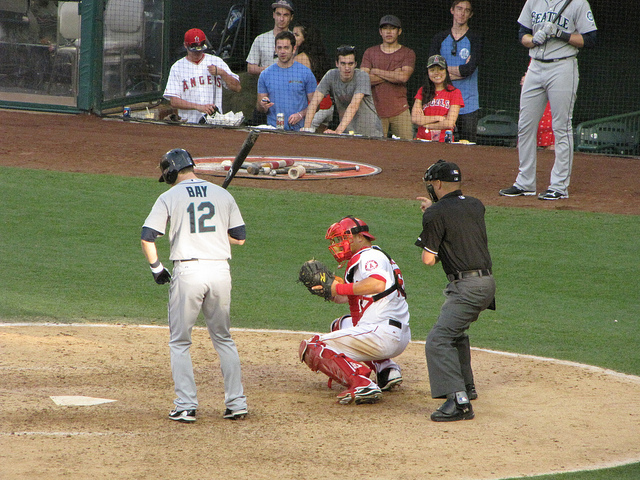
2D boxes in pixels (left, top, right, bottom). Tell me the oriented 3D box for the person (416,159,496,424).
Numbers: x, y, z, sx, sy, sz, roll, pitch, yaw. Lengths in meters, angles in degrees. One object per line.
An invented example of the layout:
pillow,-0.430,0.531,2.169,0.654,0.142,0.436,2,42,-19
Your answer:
person,1.365,0.512,13.889,0.873,2.606,0.844,5,8,5

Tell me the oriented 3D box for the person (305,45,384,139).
person,0.395,-2.339,21.200,1.097,1.393,1.342,5,8,7

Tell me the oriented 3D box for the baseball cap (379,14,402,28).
baseball cap,1.085,-3.452,21.198,0.283,0.191,0.424,4,7,-2

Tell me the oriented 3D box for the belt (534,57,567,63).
belt,3.034,-2.389,17.767,0.405,0.081,0.081,5,8,13

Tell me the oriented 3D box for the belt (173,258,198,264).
belt,-1.368,0.185,13.512,0.256,0.046,0.057,5,7,14

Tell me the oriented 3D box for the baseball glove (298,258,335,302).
baseball glove,-0.037,0.401,14.220,0.429,0.206,0.340,42,2,-6

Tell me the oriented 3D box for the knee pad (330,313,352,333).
knee pad,0.232,0.891,14.678,0.183,0.217,0.220,16,34,-9

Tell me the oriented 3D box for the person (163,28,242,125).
person,-1.946,-2.699,21.568,1.045,1.309,1.060,0,9,-32

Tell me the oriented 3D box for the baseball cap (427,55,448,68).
baseball cap,1.719,-2.657,19.963,0.263,0.169,0.375,4,7,0

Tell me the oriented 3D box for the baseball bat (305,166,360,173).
baseball bat,0.189,-1.063,20.081,0.972,0.103,0.151,-2,9,-37

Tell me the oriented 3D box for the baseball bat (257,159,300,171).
baseball bat,-0.669,-1.103,19.672,0.521,0.174,0.170,2,8,-12

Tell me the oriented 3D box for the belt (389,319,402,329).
belt,0.781,0.870,14.129,0.140,0.094,0.033,2,9,-19

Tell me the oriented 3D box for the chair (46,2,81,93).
chair,-4.259,-3.349,22.494,0.472,1.244,0.231,3,8,-9

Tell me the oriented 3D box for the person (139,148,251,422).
person,-1.231,0.457,13.654,1.218,2.697,0.693,4,8,-2

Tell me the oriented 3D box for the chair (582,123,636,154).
chair,4.801,-1.713,22.501,0.787,0.370,0.487,0,14,0

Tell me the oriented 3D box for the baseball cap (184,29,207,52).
baseball cap,-1.973,-3.134,21.069,0.301,0.222,0.397,-9,34,-14
